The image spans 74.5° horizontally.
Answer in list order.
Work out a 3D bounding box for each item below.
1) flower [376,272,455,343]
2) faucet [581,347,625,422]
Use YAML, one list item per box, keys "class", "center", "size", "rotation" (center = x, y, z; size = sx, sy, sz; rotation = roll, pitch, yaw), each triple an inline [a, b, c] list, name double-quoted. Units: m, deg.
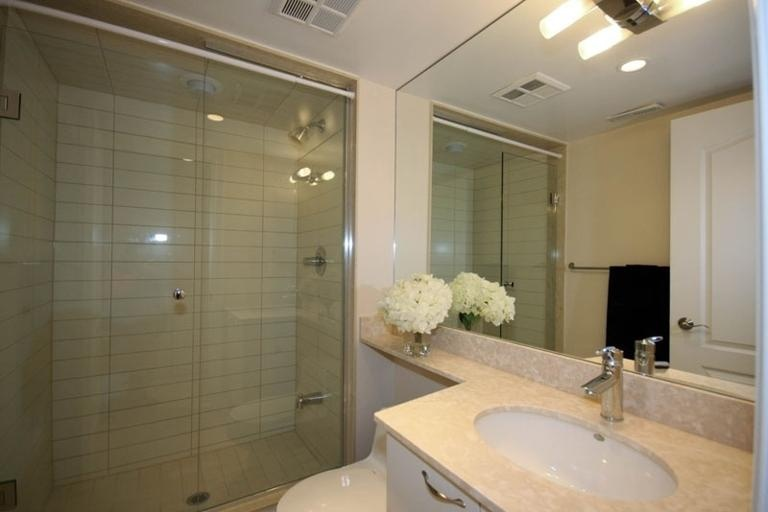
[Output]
- class: "flower"
  center: [0.184, 0.259, 2.860]
  size: [0.358, 0.394, 0.362]
  rotation: [1, 6, 5]
- class: "faucet"
  center: [0.924, 0.557, 2.153]
  size: [0.247, 0.317, 0.080]
  rotation: [1, -1, -38]
